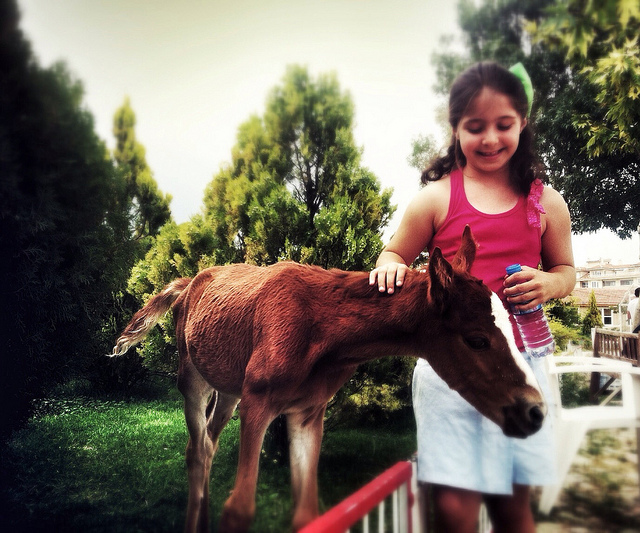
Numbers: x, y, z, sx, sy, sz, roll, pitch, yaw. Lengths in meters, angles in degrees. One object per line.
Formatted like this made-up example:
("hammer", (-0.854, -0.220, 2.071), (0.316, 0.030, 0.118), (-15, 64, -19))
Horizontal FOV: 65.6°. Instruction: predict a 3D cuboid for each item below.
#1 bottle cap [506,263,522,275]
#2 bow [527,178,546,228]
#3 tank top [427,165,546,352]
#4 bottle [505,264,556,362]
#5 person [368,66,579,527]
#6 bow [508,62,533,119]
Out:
("bottle cap", (0.976, 0.004, 2.498), (0.050, 0.040, 0.048), (-15, -3, -44))
("bow", (1.159, -0.364, 2.739), (0.100, 0.271, 0.094), (26, -45, -11))
("tank top", (0.922, -0.089, 2.884), (0.533, 0.990, 0.490), (6, 2, -1))
("bottle", (1.093, 0.338, 2.542), (0.219, 0.290, 0.170), (-2, -7, 6))
("person", (0.970, 0.279, 2.843), (0.864, 2.718, 1.355), (-6, -9, 36))
("bow", (1.148, -1.000, 2.838), (0.102, 0.288, 0.257), (6, -12, 28))
